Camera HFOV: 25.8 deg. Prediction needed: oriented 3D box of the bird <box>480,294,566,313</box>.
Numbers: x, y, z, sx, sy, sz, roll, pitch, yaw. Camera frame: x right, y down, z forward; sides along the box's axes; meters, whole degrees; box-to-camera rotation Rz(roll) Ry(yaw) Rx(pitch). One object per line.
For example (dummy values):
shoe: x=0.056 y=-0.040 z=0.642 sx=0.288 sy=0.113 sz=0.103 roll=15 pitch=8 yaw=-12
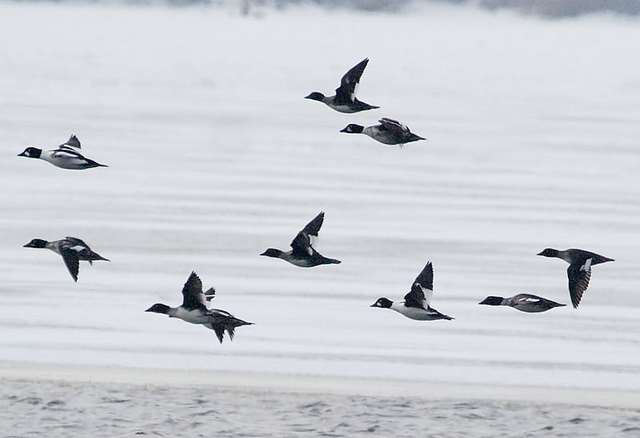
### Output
bird: x=6.706 y=2.749 z=46.465 sx=1.524 sy=0.703 sz=2.534 roll=-10 pitch=-9 yaw=42

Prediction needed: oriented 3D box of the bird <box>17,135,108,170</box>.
bird: x=-8.743 y=-2.278 z=47.596 sx=2.981 sy=0.994 sz=1.279 roll=11 pitch=10 yaw=38
